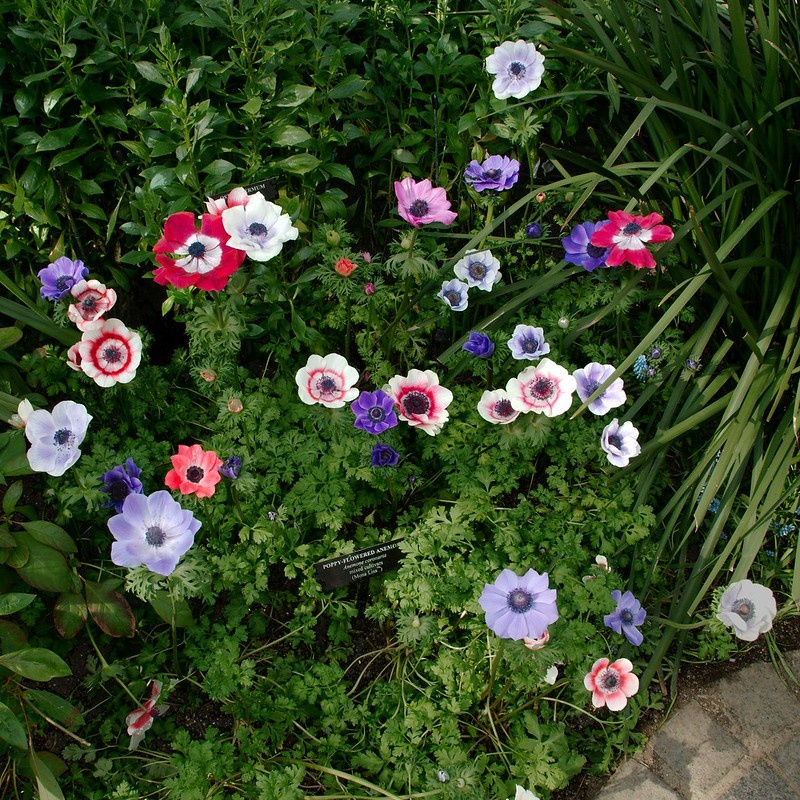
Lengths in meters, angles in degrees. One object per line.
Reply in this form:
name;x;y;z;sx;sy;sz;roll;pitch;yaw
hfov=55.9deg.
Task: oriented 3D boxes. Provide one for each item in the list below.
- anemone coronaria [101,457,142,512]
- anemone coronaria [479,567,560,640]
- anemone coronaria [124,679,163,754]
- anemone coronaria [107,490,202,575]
anemone coronaria;-0.786;0.223;2.155;0.136;0.063;0.160;-3;96;10
anemone coronaria;0.290;0.492;1.797;0.195;0.183;0.070;-20;104;-32
anemone coronaria;-0.724;0.897;2.147;0.094;0.038;0.218;5;74;37
anemone coronaria;-0.633;0.335;1.925;0.214;0.064;0.224;-14;73;4
